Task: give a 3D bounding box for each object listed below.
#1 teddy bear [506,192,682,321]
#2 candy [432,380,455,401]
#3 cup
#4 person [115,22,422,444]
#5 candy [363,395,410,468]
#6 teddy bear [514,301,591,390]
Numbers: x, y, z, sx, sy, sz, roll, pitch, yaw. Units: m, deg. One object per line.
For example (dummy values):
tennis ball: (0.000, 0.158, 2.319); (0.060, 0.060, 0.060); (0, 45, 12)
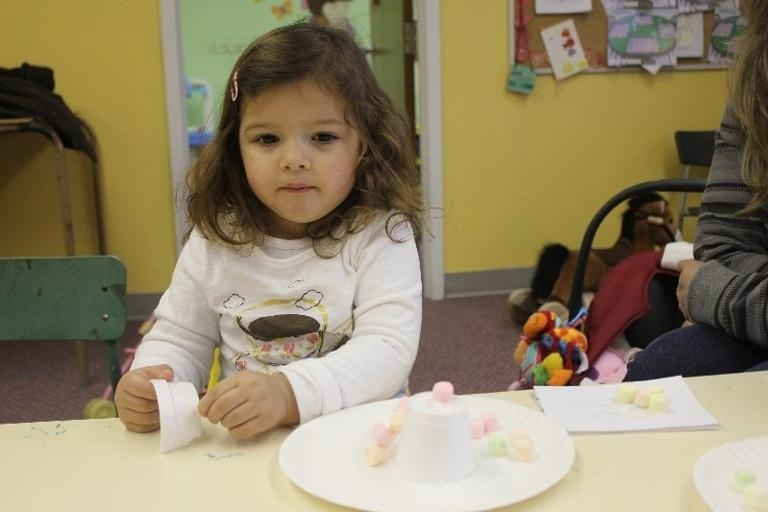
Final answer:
teddy bear: (0.994, 0.053, 3.032); (0.798, 0.552, 0.273); (-15, 15, -18)
candy: (0.097, 0.213, 1.069); (0.028, 0.026, 0.031); (-1, 3, -27)
cup: (-0.341, 0.265, 1.097); (0.092, 0.103, 0.050); (3, -12, -25)
person: (-0.225, -0.004, 1.424); (0.568, 0.987, 0.578); (-1, 5, -1)
candy: (0.007, 0.286, 1.103); (0.043, 0.049, 0.130); (18, 39, 5)
teddy bear: (0.482, 0.290, 1.914); (0.183, 0.273, 0.138); (21, -14, -1)
